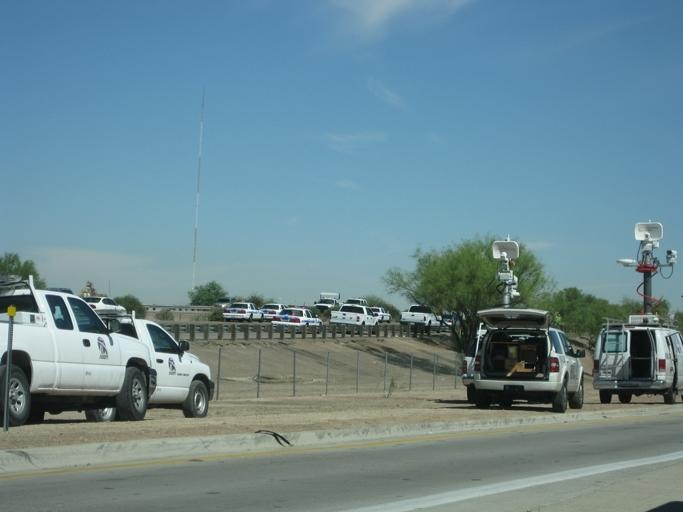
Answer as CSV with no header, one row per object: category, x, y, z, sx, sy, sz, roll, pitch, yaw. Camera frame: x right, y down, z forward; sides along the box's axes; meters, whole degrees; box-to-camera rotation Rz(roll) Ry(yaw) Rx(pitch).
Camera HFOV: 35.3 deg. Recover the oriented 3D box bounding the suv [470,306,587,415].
suv,5.058,2.687,28.459,1.854,1.759,3.519,0,-1,18
